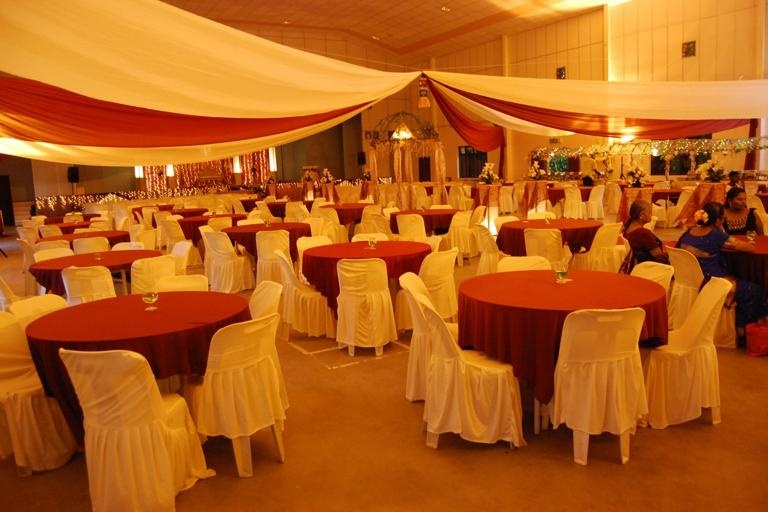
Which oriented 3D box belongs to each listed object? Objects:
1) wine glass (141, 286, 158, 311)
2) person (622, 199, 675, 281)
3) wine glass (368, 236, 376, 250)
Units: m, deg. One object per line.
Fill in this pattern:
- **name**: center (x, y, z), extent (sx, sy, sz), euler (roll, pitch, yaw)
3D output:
- **wine glass**: center (-1.727, 0.320, 4.083), extent (0.112, 0.175, 0.118), euler (0, 10, 9)
- **person**: center (2.773, -0.165, 5.815), extent (0.574, 0.913, 0.455), euler (-11, 25, -1)
- **wine glass**: center (-0.139, -0.131, 6.049), extent (0.101, 0.206, 0.105), euler (0, 7, -8)
